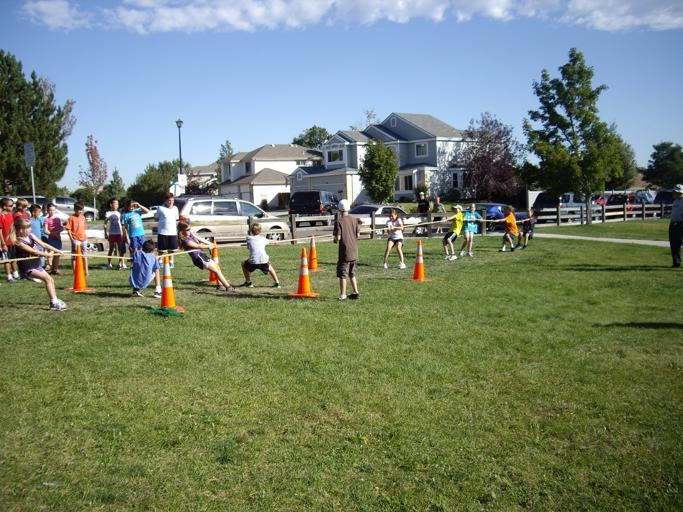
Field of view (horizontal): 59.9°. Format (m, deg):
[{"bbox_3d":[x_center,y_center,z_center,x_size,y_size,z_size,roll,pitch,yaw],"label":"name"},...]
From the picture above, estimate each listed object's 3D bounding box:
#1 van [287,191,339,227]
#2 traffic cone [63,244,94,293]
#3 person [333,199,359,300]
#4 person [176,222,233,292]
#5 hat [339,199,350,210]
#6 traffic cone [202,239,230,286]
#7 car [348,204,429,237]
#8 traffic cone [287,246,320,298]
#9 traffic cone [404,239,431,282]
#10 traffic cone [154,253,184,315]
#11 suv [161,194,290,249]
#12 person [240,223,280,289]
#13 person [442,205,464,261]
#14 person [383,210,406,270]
[{"bbox_3d":[-1.420,-3.136,38.656,2.090,1.841,4.230,1,7,20],"label":"van"},{"bbox_3d":[-5.711,0.324,13.044,0.728,0.996,0.740,-4,-5,17],"label":"traffic cone"},{"bbox_3d":[0.113,-0.139,12.648,0.492,2.050,1.393,-1,5,1],"label":"person"},{"bbox_3d":[-3.024,0.023,13.270,0.888,1.805,0.572,-21,7,14],"label":"person"},{"bbox_3d":[0.052,-1.047,12.425,0.188,0.170,0.297,1,14,4],"label":"hat"},{"bbox_3d":[-2.936,0.219,13.827,0.823,1.212,0.878,-1,7,-2],"label":"traffic cone"},{"bbox_3d":[1.748,-1.685,28.267,4.131,1.581,1.669,1,3,38],"label":"car"},{"bbox_3d":[-0.832,0.333,12.884,0.888,0.944,0.876,3,-6,-36],"label":"traffic cone"},{"bbox_3d":[1.899,0.138,14.674,0.812,0.941,0.857,3,2,29],"label":"traffic cone"},{"bbox_3d":[-3.244,0.690,11.169,0.673,1.339,0.677,0,10,-13],"label":"traffic cone"},{"bbox_3d":[-4.436,-1.460,23.169,4.690,1.944,1.780,-1,1,-40],"label":"suv"},{"bbox_3d":[-1.929,0.010,13.443,0.571,1.631,0.853,1,1,41],"label":"person"},{"bbox_3d":[3.575,-0.773,19.061,0.608,1.659,2.270,-1,6,11],"label":"person"},{"bbox_3d":[1.509,-0.489,17.015,0.625,1.618,1.627,-1,5,5],"label":"person"}]
